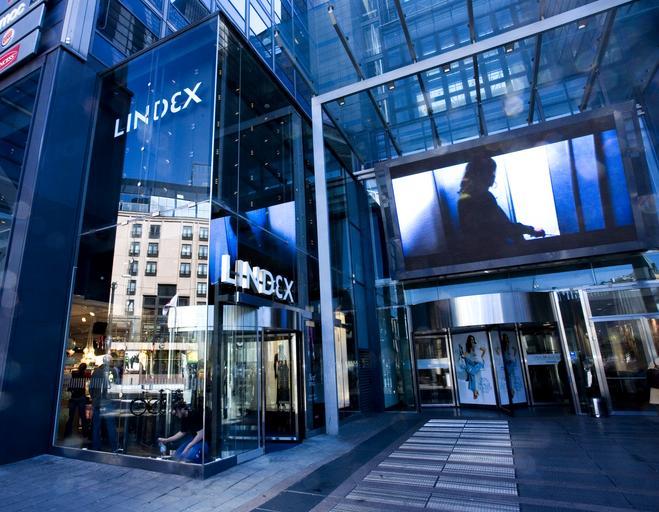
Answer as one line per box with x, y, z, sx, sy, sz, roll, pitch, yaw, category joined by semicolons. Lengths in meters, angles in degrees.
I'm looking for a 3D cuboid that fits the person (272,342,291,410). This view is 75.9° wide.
-1.190;3.047;10.579;0.519;1.552;0.140;-8;-12;34;person

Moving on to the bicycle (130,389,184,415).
-3.385;2.853;8.126;0.994;0.622;0.502;0;-8;-5;bicycle
